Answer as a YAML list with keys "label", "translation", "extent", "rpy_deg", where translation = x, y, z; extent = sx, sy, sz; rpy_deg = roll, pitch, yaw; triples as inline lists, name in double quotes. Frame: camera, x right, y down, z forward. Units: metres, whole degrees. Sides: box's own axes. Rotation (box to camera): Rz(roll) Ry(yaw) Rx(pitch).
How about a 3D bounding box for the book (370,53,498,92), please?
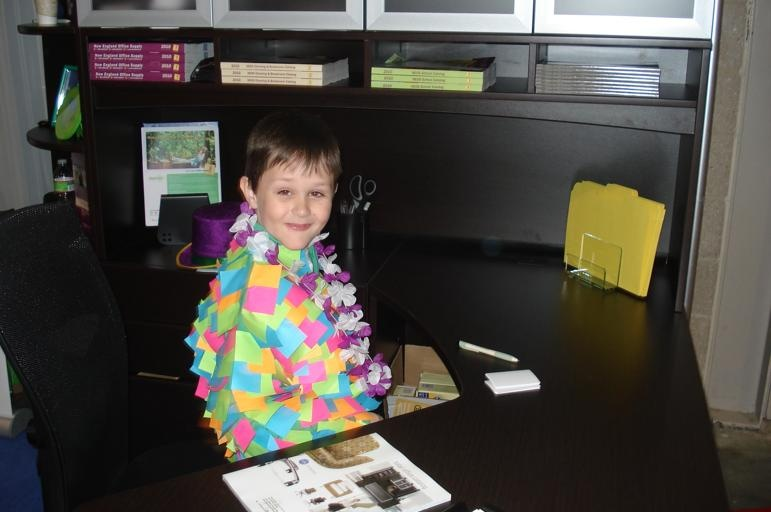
- label: "book"
  translation: [0.192, -0.714, 2.204]
  extent: [0.460, 0.137, 0.243]
  rpy_deg: [4, 16, 11]

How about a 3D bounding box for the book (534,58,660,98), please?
- label: "book"
  translation: [0.757, -0.631, 2.023]
  extent: [0.427, 0.115, 0.046]
  rpy_deg: [4, 16, 11]

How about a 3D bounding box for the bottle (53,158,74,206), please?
- label: "bottle"
  translation: [-1.513, -0.343, 2.630]
  extent: [0.083, 0.214, 0.082]
  rpy_deg: [7, 19, -2]
